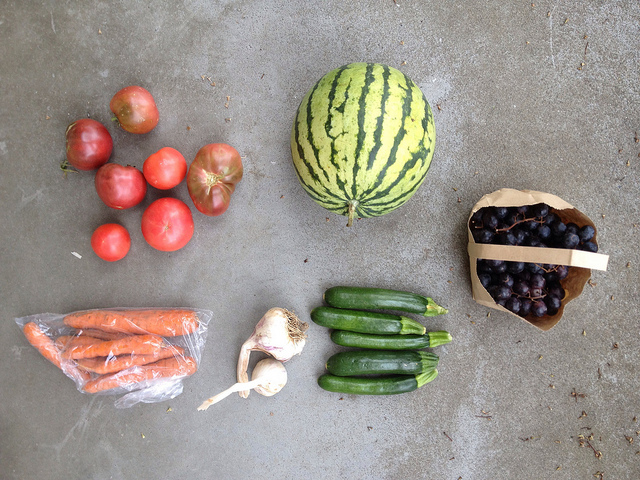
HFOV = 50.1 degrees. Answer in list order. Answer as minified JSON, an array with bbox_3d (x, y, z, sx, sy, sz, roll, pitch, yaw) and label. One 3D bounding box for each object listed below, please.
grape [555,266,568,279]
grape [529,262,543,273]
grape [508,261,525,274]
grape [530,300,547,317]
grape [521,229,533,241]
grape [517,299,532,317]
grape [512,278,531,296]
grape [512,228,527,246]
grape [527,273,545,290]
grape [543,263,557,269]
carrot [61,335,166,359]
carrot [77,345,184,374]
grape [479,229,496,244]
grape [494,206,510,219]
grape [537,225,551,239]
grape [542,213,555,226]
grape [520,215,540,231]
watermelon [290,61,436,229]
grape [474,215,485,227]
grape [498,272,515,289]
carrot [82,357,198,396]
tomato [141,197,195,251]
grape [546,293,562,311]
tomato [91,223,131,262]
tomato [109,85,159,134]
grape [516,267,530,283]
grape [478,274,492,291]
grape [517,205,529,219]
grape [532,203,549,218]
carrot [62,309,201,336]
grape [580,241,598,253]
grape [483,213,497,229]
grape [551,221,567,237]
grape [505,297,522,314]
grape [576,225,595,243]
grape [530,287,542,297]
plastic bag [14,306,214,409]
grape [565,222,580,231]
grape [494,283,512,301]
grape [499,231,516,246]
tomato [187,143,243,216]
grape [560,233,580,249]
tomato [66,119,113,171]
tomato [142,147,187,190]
[{"bbox_3d":[1.075,0.145,3.044,0.046,0.027,0.052,23,93,-3],"label":"grape"},{"bbox_3d":[0.955,0.125,3.022,0.033,0.046,0.038,-2,86,-32],"label":"grape"},{"bbox_3d":[0.862,0.119,3.011,0.056,0.047,0.049,-5,117,12],"label":"grape"},{"bbox_3d":[0.970,0.305,3.046,0.070,0.061,0.057,15,37,15],"label":"grape"},{"bbox_3d":[0.921,-0.019,3.025,0.033,0.046,0.038,-4,96,10],"label":"grape"},{"bbox_3d":[0.913,0.297,3.039,0.039,0.042,0.081,24,89,5],"label":"grape"},{"bbox_3d":[0.896,0.206,3.031,0.079,0.030,0.072,15,81,4],"label":"grape"},{"bbox_3d":[0.878,-0.011,3.022,0.048,0.052,0.073,-5,79,-3],"label":"grape"},{"bbox_3d":[0.952,0.188,3.040,0.065,0.067,0.070,15,61,-16],"label":"grape"},{"bbox_3d":[1.019,0.118,3.039,0.028,0.030,0.020,1,87,-6],"label":"grape"},{"bbox_3d":[-0.947,0.490,3.123,0.472,0.043,0.090,-4,80,1],"label":"carrot"},{"bbox_3d":[-0.864,0.495,3.136,0.488,0.093,0.088,1,40,-7],"label":"carrot"},{"bbox_3d":[0.744,-0.016,3.040,0.066,0.054,0.068,-10,84,41],"label":"grape"},{"bbox_3d":[0.810,-0.123,3.037,0.054,0.030,0.046,-40,86,1],"label":"grape"},{"bbox_3d":[0.988,-0.037,3.018,0.045,0.049,0.064,-3,92,3],"label":"grape"},{"bbox_3d":[1.015,-0.089,3.028,0.049,0.029,0.044,-13,88,5],"label":"grape"},{"bbox_3d":[0.934,-0.072,3.035,0.056,0.033,0.066,6,91,5],"label":"grape"},{"bbox_3d":[0.175,-0.412,3.068,0.499,0.513,0.724,1,90,-3],"label":"watermelon"},{"bbox_3d":[0.713,-0.082,3.092,0.034,0.026,0.049,10,79,21],"label":"grape"},{"bbox_3d":[0.828,0.176,3.039,0.059,0.060,0.072,7,112,28],"label":"grape"},{"bbox_3d":[-0.836,0.617,3.131,0.377,0.088,0.112,-8,118,-9],"label":"carrot"},{"bbox_3d":[-0.687,-0.071,3.071,0.220,0.100,0.219,-10,80,0],"label":"tomato"},{"bbox_3d":[1.042,0.273,3.041,0.074,0.035,0.070,2,80,2],"label":"grape"},{"bbox_3d":[-0.950,0.008,3.104,0.157,0.078,0.158,7,81,3],"label":"tomato"},{"bbox_3d":[-0.830,-0.585,3.080,0.179,0.113,0.184,-30,81,-4],"label":"tomato"},{"bbox_3d":[0.906,0.146,3.043,0.054,0.044,0.048,-6,83,27],"label":"grape"},{"bbox_3d":[0.741,0.187,3.080,0.048,0.053,0.074,0,68,-1],"label":"grape"},{"bbox_3d":[0.908,-0.118,3.023,0.029,0.032,0.046,1,97,6],"label":"grape"},{"bbox_3d":[0.971,-0.132,3.009,0.045,0.050,0.071,2,107,5],"label":"grape"},{"bbox_3d":[-0.865,0.378,3.132,0.635,0.058,0.117,0,80,1],"label":"carrot"},{"bbox_3d":[1.185,0.032,3.003,0.061,0.051,0.040,-8,106,14],"label":"grape"},{"bbox_3d":[0.755,-0.084,3.035,0.043,0.062,0.052,-5,95,4],"label":"grape"},{"bbox_3d":[1.054,-0.048,3.028,0.057,0.057,0.078,-3,92,-43],"label":"grape"},{"bbox_3d":[0.858,0.288,3.030,0.053,0.039,0.075,2,106,11],"label":"grape"},{"bbox_3d":[1.170,-0.026,3.010,0.057,0.045,0.087,10,82,13],"label":"grape"},{"bbox_3d":[0.955,0.235,3.024,0.054,0.011,0.040,13,81,3],"label":"grape"},{"bbox_3d":[-0.904,0.545,3.119,0.702,0.256,0.458,-6,77,-3],"label":"plastic bag"},{"bbox_3d":[1.128,-0.061,3.052,0.034,0.044,0.026,9,98,-12],"label":"grape"},{"bbox_3d":[0.810,0.231,3.028,0.069,0.067,0.086,40,38,-27],"label":"grape"},{"bbox_3d":[0.828,-0.007,3.012,0.068,0.041,0.061,1,80,2],"label":"grape"},{"bbox_3d":[-0.477,-0.279,3.072,0.210,0.121,0.308,26,82,5],"label":"tomato"},{"bbox_3d":[1.091,0.003,2.989,0.058,0.066,0.071,2,118,-24],"label":"grape"},{"bbox_3d":[-1.043,-0.433,3.118,0.191,0.160,0.214,-10,80,0],"label":"tomato"},{"bbox_3d":[-0.685,-0.312,3.117,0.174,0.172,0.178,-28,102,10],"label":"tomato"}]
